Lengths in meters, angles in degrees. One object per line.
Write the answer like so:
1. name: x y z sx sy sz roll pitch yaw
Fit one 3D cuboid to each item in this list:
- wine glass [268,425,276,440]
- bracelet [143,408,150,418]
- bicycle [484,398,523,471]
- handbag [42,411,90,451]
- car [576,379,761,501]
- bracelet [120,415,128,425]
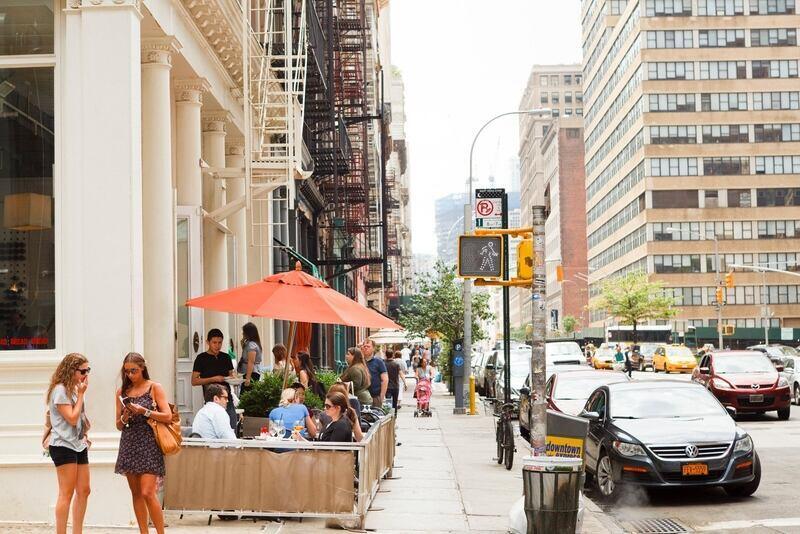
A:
1. wine glass: -2.750 3.568 29.853 0.208 0.420 0.239 -1 -3 -3
2. bracelet: -5.029 2.920 27.538 0.137 0.153 0.093 3 0 -15
3. bicycle: 2.629 4.215 34.665 0.418 1.640 1.277 0 -4 4
4. handbag: -6.663 3.293 27.712 0.800 0.921 0.454 0 1 19
5. car: 6.142 4.032 31.872 3.648 2.661 2.124 0 -4 9
6. bracelet: -5.479 3.071 27.580 0.133 0.162 0.105 -15 13 -3
